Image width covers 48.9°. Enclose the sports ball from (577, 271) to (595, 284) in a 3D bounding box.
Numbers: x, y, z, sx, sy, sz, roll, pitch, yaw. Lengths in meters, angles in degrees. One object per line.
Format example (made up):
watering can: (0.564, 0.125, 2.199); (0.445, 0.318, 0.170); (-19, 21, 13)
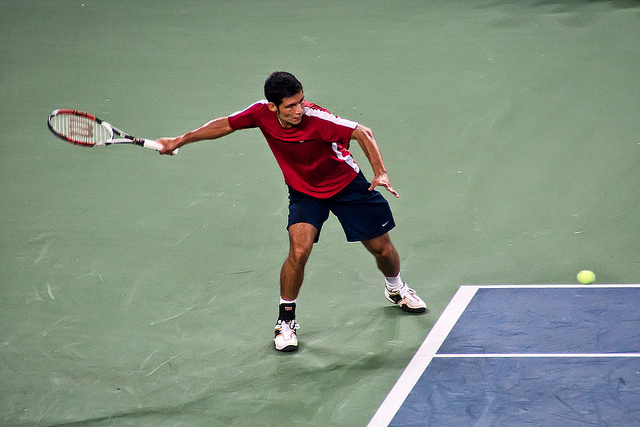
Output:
sports ball: (2.456, 0.565, 6.473); (0.115, 0.081, 0.116); (-6, 20, 2)
